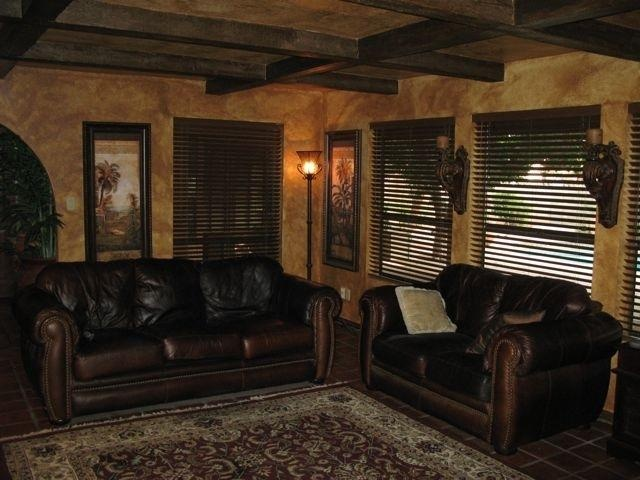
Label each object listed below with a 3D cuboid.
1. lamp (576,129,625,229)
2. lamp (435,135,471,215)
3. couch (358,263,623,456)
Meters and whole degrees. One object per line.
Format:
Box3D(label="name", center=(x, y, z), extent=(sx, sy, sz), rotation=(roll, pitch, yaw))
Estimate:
Box3D(label="lamp", center=(2.392, -0.461, 4.536), extent=(0.304, 0.732, 0.220), rotation=(8, 12, 37))
Box3D(label="lamp", center=(1.432, -0.695, 5.753), extent=(0.349, 0.823, 0.344), rotation=(3, 9, 12))
Box3D(label="couch", center=(1.482, 0.953, 4.997), extent=(1.324, 1.151, 2.225), rotation=(-4, 5, -26))
